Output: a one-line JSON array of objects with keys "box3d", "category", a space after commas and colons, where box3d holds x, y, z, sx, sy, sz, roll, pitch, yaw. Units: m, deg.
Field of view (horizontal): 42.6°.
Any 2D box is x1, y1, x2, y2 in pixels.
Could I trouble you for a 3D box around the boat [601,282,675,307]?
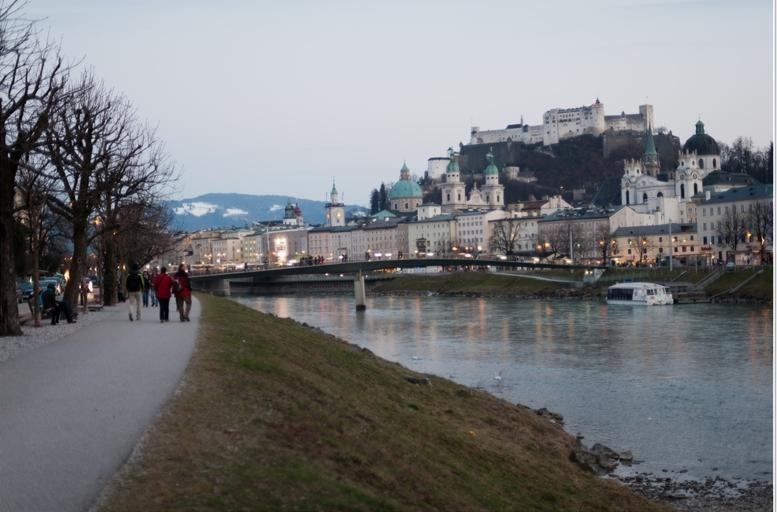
[{"box3d": [21.380, 3.199, 84.783, 5.406, 1.717, 2.954, -1, 0, 26], "category": "boat"}]
